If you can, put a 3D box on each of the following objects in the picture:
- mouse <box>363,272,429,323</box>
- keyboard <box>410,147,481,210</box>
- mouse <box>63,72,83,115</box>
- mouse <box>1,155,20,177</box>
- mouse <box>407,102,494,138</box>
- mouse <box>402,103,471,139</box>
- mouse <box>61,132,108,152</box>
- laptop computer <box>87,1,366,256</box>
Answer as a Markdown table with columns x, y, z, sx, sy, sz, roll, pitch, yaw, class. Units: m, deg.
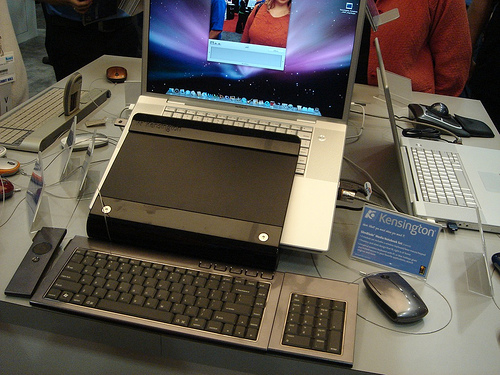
| x | y | z | sx | sy | sz | roll | pitch | yaw | class |
| --- | --- | --- | --- | --- | --- | --- | --- | --- | --- |
| 0.332 | 0.247 | 0.903 | 0.093 | 0.033 | 0.132 | -13 | 48 | -17 | mouse |
| 0.590 | -0.036 | 1.267 | 0.229 | 0.038 | 0.379 | -3 | 33 | 42 | keyboard |
| -0.618 | -0.338 | 1.383 | 0.032 | 0.149 | 0.118 | 16 | 31 | -3 | mouse |
| -0.702 | -0.063 | 1.154 | 0.051 | 0.028 | 0.070 | -19 | 50 | -22 | mouse |
| 0.785 | -0.258 | 1.556 | 0.230 | 0.074 | 0.168 | 6 | 32 | -8 | mouse |
| 0.715 | -0.237 | 1.553 | 0.214 | 0.074 | 0.172 | 2 | 41 | -4 | mouse |
| -0.538 | -0.164 | 1.271 | 0.110 | 0.029 | 0.076 | -11 | 30 | -26 | mouse |
| -0.036 | -0.238 | 1.029 | 0.662 | 0.390 | 0.536 | 17 | 46 | 12 | laptop computer |
